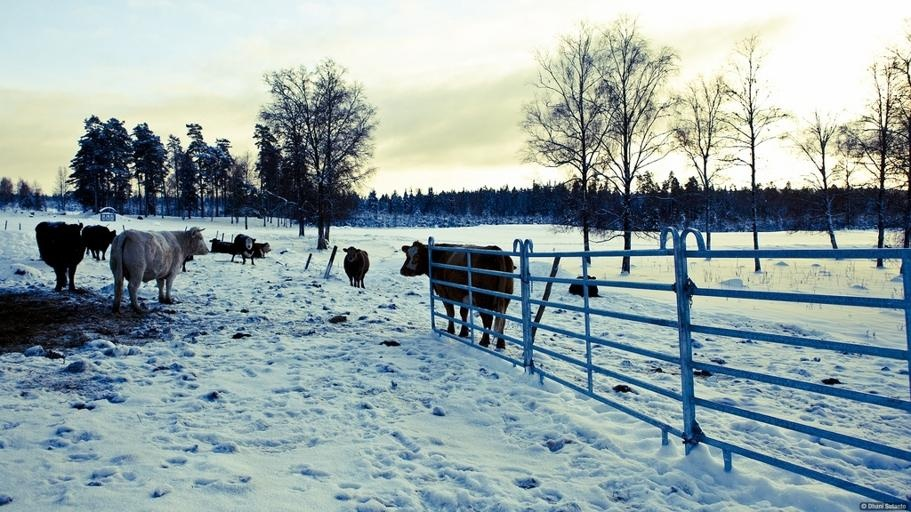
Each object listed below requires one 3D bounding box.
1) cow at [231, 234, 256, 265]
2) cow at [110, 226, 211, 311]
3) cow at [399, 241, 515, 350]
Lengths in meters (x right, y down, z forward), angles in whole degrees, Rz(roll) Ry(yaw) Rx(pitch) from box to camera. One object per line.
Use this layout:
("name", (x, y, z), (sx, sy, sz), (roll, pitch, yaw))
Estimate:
("cow", (-11.160, -0.343, 37.384), (1.132, 1.508, 2.586), (0, 11, -16))
("cow", (-11.434, 0.384, 27.514), (1.451, 3.112, 4.724), (0, 2, 20))
("cow", (0.263, 1.172, 26.294), (1.904, 3.516, 5.195), (-7, 15, -43))
